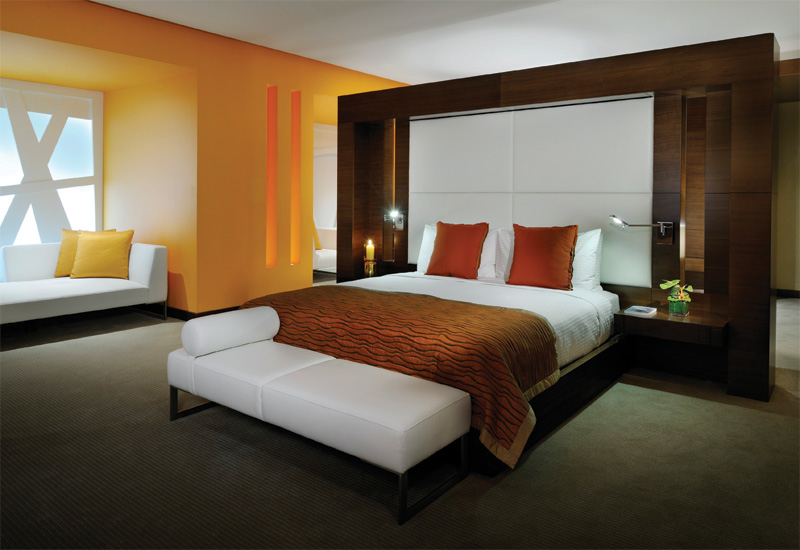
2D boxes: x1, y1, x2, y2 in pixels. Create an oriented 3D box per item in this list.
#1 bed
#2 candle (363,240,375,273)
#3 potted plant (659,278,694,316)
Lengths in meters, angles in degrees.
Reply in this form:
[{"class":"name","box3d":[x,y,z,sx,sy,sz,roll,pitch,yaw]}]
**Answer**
[{"class":"bed","box3d":[0.156,0.589,3.709,1.663,0.585,2.214,5,8,39]},{"class":"candle","box3d":[-0.353,-0.218,5.865,0.135,0.398,0.211,0,10,3]},{"class":"potted plant","box3d":[2.324,0.156,4.281,0.278,0.316,0.294,2,6,44]}]
